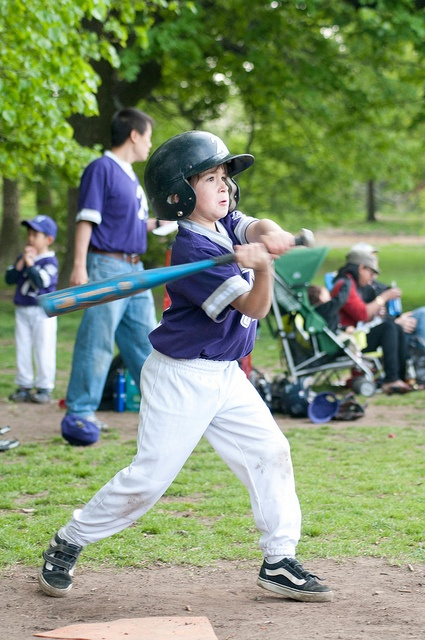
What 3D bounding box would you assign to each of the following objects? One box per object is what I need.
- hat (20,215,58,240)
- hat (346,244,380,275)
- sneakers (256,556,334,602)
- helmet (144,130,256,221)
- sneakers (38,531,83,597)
[{"bbox_3d":[-0.999,-0.557,4.693,0.194,0.102,0.129,31,-6,-40],"label":"hat"},{"bbox_3d":[1.170,-0.472,6.183,0.278,0.180,0.183,16,14,20],"label":"hat"},{"bbox_3d":[0.286,0.929,2.866,0.323,0.123,0.104,14,-7,17],"label":"sneakers"},{"bbox_3d":[-0.095,-0.514,2.880,0.420,0.282,0.284,1,3,26],"label":"helmet"},{"bbox_3d":[-0.545,0.894,2.877,0.109,0.113,0.266,31,12,-20],"label":"sneakers"}]
